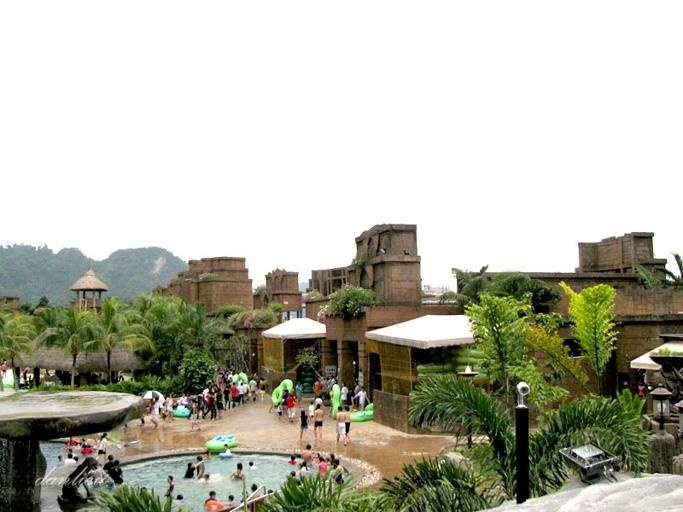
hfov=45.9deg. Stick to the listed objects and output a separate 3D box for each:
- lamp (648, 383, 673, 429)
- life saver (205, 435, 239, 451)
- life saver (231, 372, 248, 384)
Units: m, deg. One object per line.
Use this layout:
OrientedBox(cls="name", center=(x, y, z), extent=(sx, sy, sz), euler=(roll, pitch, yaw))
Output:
OrientedBox(cls="lamp", center=(7.683, 3.634, 19.310), extent=(0.543, 1.049, 0.551), euler=(3, -10, -43))
OrientedBox(cls="life saver", center=(-3.895, 6.165, 26.575), extent=(0.515, 0.250, 0.729), euler=(0, -1, 27))
OrientedBox(cls="life saver", center=(-4.948, 5.854, 38.709), extent=(0.646, 0.511, 0.896), euler=(7, -5, 3))
